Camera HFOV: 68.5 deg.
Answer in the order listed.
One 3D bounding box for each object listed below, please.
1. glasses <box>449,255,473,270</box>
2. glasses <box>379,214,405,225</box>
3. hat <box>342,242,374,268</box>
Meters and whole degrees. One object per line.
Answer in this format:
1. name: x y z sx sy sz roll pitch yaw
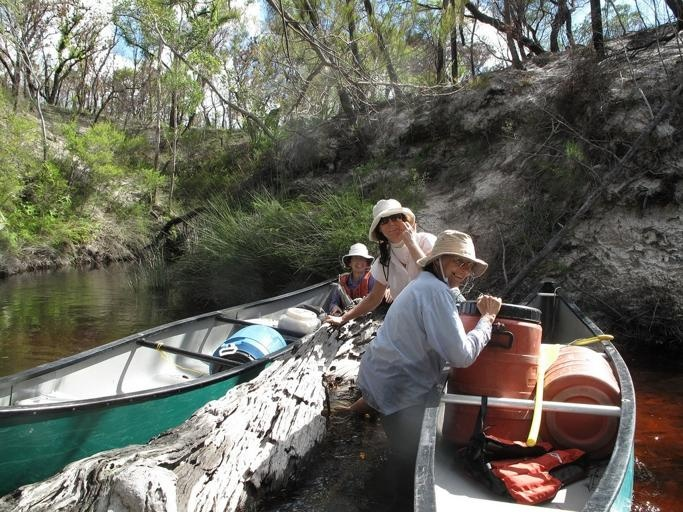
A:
1. glasses: 0.944 0.057 3.936 0.093 0.038 0.128 21 7 -26
2. glasses: 0.519 -0.379 5.089 0.263 0.081 0.110 -12 7 4
3. hat: 0.212 -0.060 6.952 0.311 0.221 0.415 -3 -31 4
